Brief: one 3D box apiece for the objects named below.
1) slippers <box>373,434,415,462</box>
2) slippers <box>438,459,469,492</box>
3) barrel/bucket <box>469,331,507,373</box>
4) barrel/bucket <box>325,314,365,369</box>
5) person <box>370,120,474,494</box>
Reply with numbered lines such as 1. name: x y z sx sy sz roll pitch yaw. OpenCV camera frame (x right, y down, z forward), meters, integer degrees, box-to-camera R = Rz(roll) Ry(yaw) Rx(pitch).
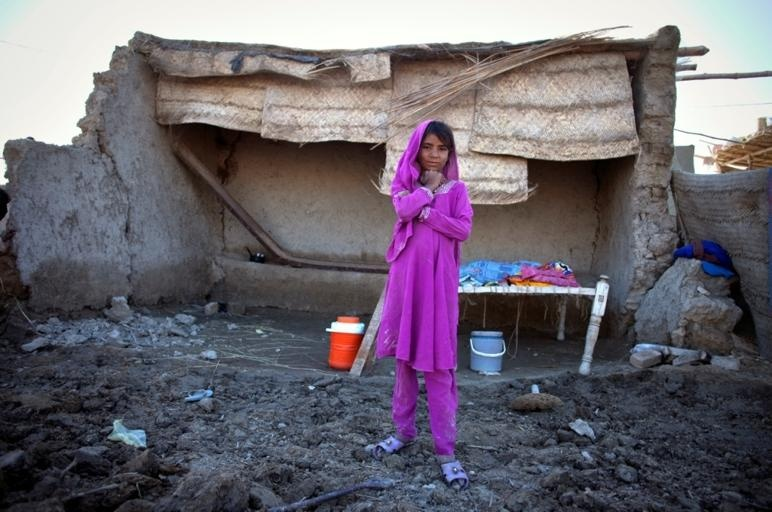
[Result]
1. slippers: 0.073 1.466 4.612 0.315 0.093 0.132 -7 10 -33
2. slippers: 0.515 1.586 4.367 0.190 0.176 0.181 3 1 -13
3. barrel/bucket: 1.066 1.010 6.345 0.388 0.400 0.405 1 -2 0
4. barrel/bucket: -0.451 0.889 6.161 0.450 0.505 0.432 8 -4 1
5. person: 0.317 0.303 4.539 0.744 2.278 0.496 4 1 7
